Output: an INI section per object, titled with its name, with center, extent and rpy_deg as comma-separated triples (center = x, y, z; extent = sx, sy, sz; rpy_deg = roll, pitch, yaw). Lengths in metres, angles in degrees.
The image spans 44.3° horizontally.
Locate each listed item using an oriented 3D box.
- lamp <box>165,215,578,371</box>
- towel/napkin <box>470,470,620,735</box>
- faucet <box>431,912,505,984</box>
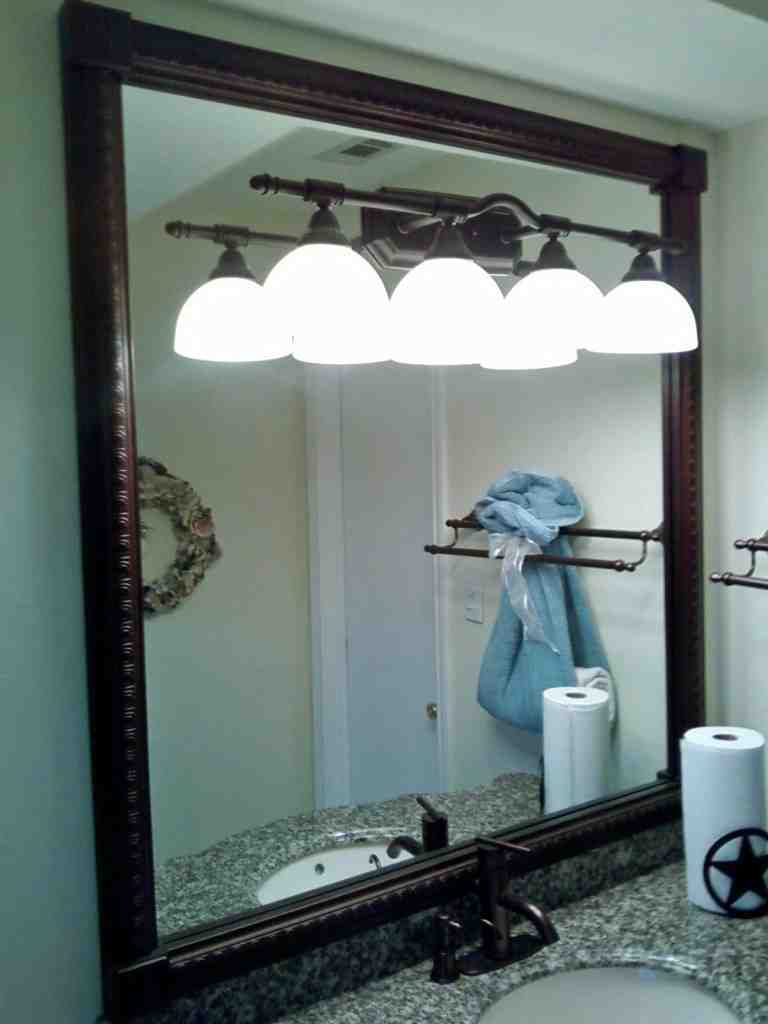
[lamp]
center = -0.072, -0.202, 1.078
extent = 0.269, 0.103, 0.262
rpy_deg = -2, 5, -35
[towel/napkin]
center = 0.253, 0.154, 1.524
extent = 0.230, 0.397, 0.219
rpy_deg = -6, 14, -13
[faucet]
center = 0.104, 0.580, 1.285
extent = 0.053, 0.076, 0.112
rpy_deg = 2, 3, 39
